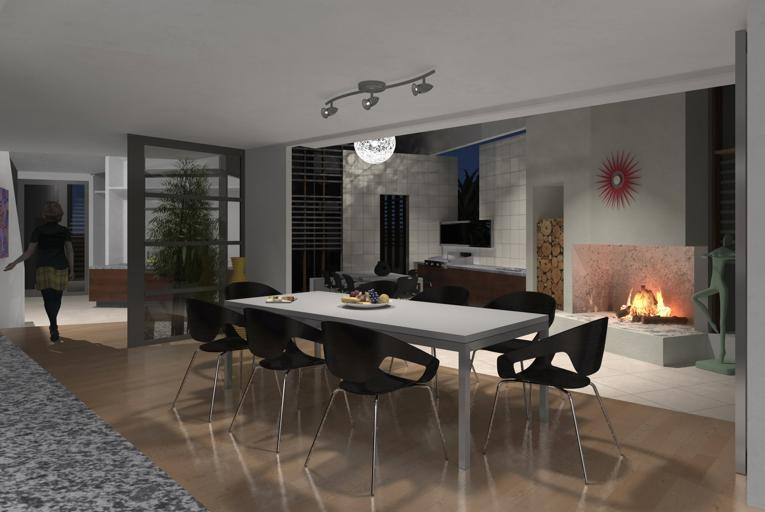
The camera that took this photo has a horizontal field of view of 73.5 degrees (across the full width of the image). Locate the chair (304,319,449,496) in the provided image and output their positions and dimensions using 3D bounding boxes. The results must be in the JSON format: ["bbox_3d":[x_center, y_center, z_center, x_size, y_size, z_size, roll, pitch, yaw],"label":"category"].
[{"bbox_3d":[0.008,0.898,3.801,0.945,1.007,1.172,6,11,34],"label":"chair"}]

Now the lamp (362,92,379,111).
[{"bbox_3d":[-0.115,-1.437,4.744,0.127,0.130,0.138,16,43,-4],"label":"lamp"}]

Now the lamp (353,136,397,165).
[{"bbox_3d":[-0.130,-1.646,7.957,0.573,0.364,0.387,0,9,-2],"label":"lamp"}]

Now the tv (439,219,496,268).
[{"bbox_3d":[1.662,-0.335,10.462,0.537,0.898,1.596,-4,9,-24],"label":"tv"}]

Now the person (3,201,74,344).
[{"bbox_3d":[-4.479,0.202,6.901,0.710,1.848,0.577,8,12,42],"label":"person"}]

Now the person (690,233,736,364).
[{"bbox_3d":[3.577,0.471,5.530,0.420,1.409,0.703,6,11,32],"label":"person"}]

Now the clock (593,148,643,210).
[{"bbox_3d":[2.884,-0.936,6.244,0.096,0.844,0.771,5,-7,-39],"label":"clock"}]

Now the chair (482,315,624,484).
[{"bbox_3d":[1.208,0.924,3.951,1.151,1.325,0.907,1,-2,35],"label":"chair"}]

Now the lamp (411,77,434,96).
[{"bbox_3d":[0.338,-1.457,4.396,0.085,0.104,0.166,3,14,34],"label":"lamp"}]
